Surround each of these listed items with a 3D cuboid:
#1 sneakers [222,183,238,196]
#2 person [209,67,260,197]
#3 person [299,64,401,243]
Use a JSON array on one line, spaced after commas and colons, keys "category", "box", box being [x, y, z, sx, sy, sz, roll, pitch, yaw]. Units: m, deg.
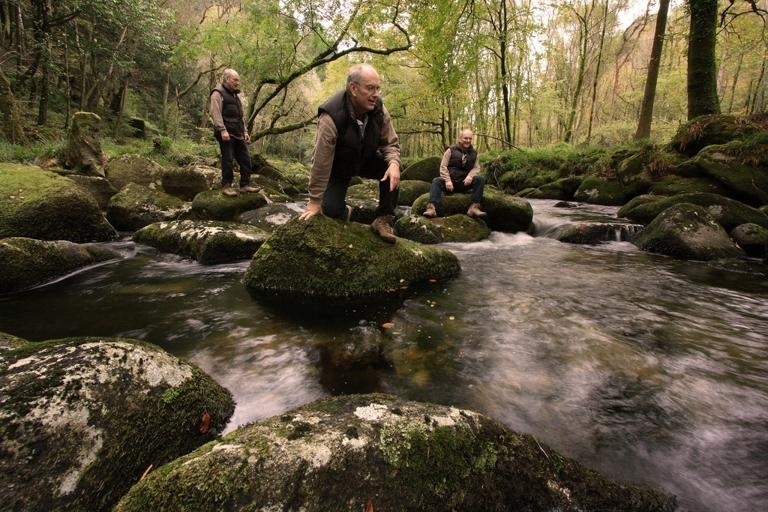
[{"category": "sneakers", "box": [-3.304, -1.399, 9.430, 0.320, 0.245, 0.201, -2, 14, -18]}, {"category": "person", "box": [-3.268, -2.685, 9.557, 0.825, 2.668, 1.069, 0, 14, -11]}, {"category": "person", "box": [-0.454, -1.455, 6.449, 1.443, 2.483, 0.713, 0, 14, -13]}]
